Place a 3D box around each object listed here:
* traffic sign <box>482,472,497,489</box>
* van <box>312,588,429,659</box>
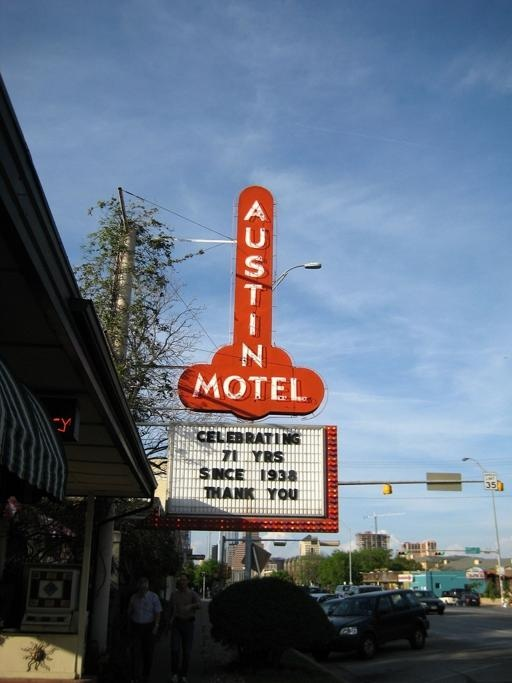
[{"bbox_3d":[9.394,5.550,27.869,0.540,0.651,0.440,-4,-21,6],"label":"traffic sign"},{"bbox_3d":[2.691,6.709,16.743,2.084,1.636,3.996,-21,-31,37],"label":"van"}]
